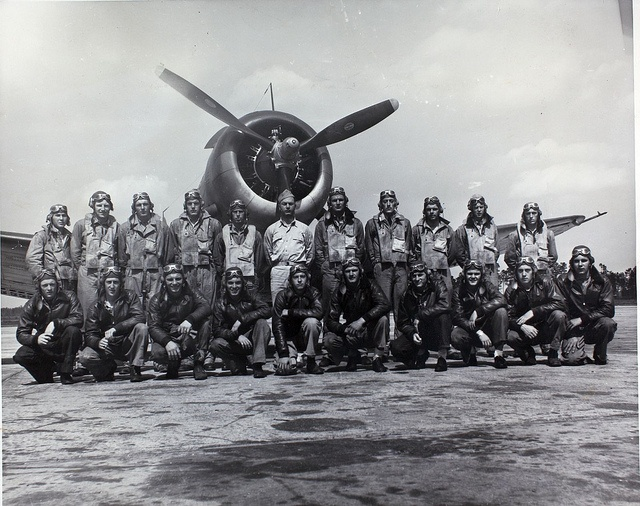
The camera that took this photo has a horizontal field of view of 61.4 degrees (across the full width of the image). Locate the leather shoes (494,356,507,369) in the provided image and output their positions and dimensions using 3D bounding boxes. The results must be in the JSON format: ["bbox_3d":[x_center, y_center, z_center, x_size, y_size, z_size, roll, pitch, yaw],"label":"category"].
[{"bbox_3d":[1.976,1.184,5.901,0.133,0.145,0.107,2,9,18],"label":"leather shoes"}]

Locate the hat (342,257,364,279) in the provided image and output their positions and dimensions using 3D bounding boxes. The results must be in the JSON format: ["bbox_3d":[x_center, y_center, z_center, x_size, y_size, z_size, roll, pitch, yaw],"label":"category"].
[{"bbox_3d":[0.363,0.149,6.045,0.169,0.219,0.102,0,27,5],"label":"hat"}]

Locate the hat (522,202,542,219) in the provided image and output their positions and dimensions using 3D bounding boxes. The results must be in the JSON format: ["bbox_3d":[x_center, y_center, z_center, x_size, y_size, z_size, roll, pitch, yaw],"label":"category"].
[{"bbox_3d":[2.729,-0.556,6.946,0.225,0.185,0.211,3,10,27],"label":"hat"}]

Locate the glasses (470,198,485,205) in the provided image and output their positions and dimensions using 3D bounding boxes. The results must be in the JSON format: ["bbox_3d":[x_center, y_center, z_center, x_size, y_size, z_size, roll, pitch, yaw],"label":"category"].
[{"bbox_3d":[1.986,-0.665,6.830,0.185,0.096,0.134,1,9,16],"label":"glasses"}]

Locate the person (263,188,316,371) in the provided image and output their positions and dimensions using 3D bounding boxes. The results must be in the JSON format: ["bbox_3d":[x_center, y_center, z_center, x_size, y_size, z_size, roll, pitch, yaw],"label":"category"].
[{"bbox_3d":[-0.391,0.256,6.680,0.598,1.910,0.429,-1,4,-9],"label":"person"}]

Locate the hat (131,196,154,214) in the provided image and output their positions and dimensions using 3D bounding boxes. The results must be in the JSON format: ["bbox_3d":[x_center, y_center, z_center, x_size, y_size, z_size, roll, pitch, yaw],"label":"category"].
[{"bbox_3d":[-2.087,-0.582,6.331,0.233,0.247,0.325,-4,9,-19],"label":"hat"}]

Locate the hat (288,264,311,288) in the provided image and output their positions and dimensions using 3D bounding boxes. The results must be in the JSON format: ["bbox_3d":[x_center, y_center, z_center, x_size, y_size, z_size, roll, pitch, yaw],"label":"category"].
[{"bbox_3d":[-0.230,0.245,6.042,0.213,0.249,0.249,-1,-7,-5],"label":"hat"}]

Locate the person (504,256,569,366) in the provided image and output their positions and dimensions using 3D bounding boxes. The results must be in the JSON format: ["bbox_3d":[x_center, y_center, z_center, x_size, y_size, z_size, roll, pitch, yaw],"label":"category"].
[{"bbox_3d":[2.470,0.669,6.162,0.659,1.170,0.576,1,9,14],"label":"person"}]

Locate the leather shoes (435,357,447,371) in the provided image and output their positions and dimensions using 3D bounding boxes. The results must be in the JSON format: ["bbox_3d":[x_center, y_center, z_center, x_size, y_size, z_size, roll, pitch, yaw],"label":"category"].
[{"bbox_3d":[1.305,1.202,5.817,0.106,0.119,0.274,-3,-13,10],"label":"leather shoes"}]

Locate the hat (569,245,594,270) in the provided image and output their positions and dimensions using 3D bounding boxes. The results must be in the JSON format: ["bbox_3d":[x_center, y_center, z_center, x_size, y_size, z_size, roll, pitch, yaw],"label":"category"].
[{"bbox_3d":[2.874,0.069,5.921,0.215,0.216,0.190,-2,-22,16],"label":"hat"}]

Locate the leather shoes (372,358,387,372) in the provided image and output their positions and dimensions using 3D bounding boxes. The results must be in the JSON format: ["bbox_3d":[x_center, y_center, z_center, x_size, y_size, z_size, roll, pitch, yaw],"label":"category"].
[{"bbox_3d":[0.645,1.210,5.844,0.156,0.174,0.212,0,9,7],"label":"leather shoes"}]

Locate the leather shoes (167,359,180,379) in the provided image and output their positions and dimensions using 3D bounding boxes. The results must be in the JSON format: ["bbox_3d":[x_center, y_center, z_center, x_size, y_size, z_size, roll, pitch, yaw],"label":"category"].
[{"bbox_3d":[-1.554,1.213,5.686,0.143,0.238,0.187,-4,9,-17],"label":"leather shoes"}]

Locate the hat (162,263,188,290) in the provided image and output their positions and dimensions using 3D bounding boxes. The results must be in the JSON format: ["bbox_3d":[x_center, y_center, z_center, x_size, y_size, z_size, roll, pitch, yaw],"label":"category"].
[{"bbox_3d":[-1.569,0.265,5.836,0.216,0.259,0.253,-2,-23,-12],"label":"hat"}]

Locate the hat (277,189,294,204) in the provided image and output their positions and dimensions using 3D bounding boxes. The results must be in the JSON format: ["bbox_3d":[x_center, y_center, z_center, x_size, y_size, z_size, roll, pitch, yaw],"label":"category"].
[{"bbox_3d":[-0.434,-0.735,6.838,0.170,0.128,0.239,0,-10,-9],"label":"hat"}]

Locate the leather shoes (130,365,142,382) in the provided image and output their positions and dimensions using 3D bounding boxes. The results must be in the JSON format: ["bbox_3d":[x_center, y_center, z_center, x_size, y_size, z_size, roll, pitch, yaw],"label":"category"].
[{"bbox_3d":[-1.912,1.255,5.606,0.106,0.157,0.129,-5,9,-21],"label":"leather shoes"}]

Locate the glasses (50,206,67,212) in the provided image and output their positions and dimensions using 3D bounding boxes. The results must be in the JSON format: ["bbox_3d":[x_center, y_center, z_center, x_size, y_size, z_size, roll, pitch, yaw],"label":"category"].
[{"bbox_3d":[-3.164,-0.539,6.506,0.180,0.088,0.102,-7,10,-31],"label":"glasses"}]

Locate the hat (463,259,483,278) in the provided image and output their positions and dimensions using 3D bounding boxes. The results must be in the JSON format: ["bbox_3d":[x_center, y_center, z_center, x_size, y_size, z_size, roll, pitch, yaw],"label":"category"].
[{"bbox_3d":[1.778,0.180,6.327,0.176,0.141,0.178,1,-21,5],"label":"hat"}]

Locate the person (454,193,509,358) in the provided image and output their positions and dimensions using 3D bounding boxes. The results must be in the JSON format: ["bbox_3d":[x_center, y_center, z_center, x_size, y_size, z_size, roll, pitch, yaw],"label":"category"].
[{"bbox_3d":[2.039,0.174,6.910,0.529,1.701,0.461,-3,-3,7],"label":"person"}]

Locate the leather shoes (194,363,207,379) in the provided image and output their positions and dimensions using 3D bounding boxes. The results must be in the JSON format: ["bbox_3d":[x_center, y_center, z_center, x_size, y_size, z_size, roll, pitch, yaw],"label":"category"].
[{"bbox_3d":[-1.252,1.234,5.623,0.132,0.160,0.252,-3,9,-14],"label":"leather shoes"}]

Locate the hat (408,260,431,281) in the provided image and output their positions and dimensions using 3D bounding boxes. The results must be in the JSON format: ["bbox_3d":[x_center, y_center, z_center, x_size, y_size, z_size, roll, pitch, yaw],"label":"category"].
[{"bbox_3d":[1.101,0.181,6.075,0.188,0.169,0.203,-13,-15,7],"label":"hat"}]

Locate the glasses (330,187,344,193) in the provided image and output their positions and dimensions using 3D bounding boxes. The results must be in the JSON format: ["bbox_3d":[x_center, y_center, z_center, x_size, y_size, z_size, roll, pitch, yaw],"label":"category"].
[{"bbox_3d":[0.218,-0.788,6.782,0.118,0.075,0.163,-1,7,3],"label":"glasses"}]

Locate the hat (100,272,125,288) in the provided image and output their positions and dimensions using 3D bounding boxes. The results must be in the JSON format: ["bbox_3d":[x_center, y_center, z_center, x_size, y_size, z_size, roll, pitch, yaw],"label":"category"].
[{"bbox_3d":[-2.225,0.306,5.807,0.170,0.224,0.221,1,-15,-10],"label":"hat"}]

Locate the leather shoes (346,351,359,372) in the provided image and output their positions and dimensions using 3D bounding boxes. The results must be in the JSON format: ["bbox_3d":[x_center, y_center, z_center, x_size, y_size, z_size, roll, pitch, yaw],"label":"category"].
[{"bbox_3d":[0.353,1.189,5.964,0.100,0.232,0.223,2,18,3],"label":"leather shoes"}]

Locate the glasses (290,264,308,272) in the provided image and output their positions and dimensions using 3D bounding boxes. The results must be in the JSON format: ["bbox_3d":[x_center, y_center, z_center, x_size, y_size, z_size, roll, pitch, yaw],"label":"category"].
[{"bbox_3d":[-0.245,0.164,6.019,0.106,0.068,0.134,-1,-6,-6],"label":"glasses"}]

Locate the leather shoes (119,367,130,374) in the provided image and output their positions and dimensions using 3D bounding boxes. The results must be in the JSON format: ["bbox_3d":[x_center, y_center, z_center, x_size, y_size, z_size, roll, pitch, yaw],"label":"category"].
[{"bbox_3d":[-2.258,1.369,6.225,0.075,0.045,0.112,2,2,-9],"label":"leather shoes"}]

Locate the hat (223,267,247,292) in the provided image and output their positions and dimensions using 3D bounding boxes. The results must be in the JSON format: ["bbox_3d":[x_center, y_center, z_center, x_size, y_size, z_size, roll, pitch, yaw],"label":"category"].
[{"bbox_3d":[-0.933,0.278,5.890,0.197,0.231,0.228,-1,-40,-8],"label":"hat"}]

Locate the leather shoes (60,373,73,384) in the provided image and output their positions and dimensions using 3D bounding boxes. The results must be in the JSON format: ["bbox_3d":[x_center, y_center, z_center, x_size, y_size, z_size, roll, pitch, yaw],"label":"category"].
[{"bbox_3d":[-2.618,1.304,5.584,0.117,0.114,0.107,-6,10,-27],"label":"leather shoes"}]

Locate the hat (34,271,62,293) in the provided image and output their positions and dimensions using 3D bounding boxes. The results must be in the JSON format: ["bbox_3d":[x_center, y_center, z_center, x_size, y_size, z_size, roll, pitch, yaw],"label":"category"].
[{"bbox_3d":[-3.000,0.305,5.921,0.257,0.326,0.185,-4,38,-23],"label":"hat"}]

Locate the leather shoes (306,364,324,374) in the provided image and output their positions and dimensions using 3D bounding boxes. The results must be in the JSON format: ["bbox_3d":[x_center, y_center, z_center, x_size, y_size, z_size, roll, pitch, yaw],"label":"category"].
[{"bbox_3d":[-0.048,1.257,5.799,0.082,0.073,0.171,5,-12,-36],"label":"leather shoes"}]

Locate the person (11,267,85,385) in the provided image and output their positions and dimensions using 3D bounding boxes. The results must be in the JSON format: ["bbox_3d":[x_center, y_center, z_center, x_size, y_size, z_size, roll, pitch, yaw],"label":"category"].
[{"bbox_3d":[-2.880,0.760,5.732,0.712,1.172,0.730,-3,1,40],"label":"person"}]

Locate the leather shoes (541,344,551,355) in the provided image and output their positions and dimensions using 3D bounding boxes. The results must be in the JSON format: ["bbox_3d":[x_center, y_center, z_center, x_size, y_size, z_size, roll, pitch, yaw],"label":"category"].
[{"bbox_3d":[2.614,1.120,6.270,0.056,0.074,0.167,-2,-15,2],"label":"leather shoes"}]

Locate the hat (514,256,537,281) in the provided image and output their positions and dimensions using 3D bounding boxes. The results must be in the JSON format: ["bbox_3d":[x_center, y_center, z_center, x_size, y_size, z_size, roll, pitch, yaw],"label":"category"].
[{"bbox_3d":[2.427,0.173,6.366,0.199,0.265,0.113,-4,8,16],"label":"hat"}]
